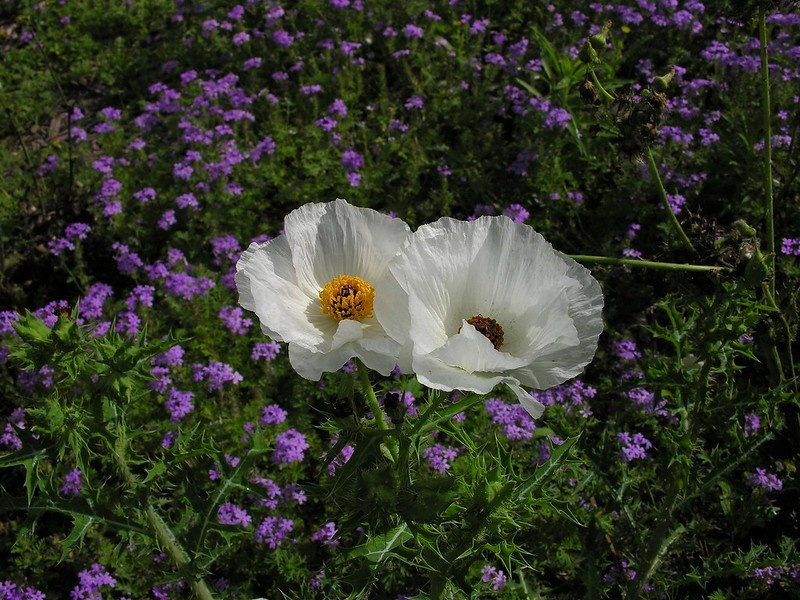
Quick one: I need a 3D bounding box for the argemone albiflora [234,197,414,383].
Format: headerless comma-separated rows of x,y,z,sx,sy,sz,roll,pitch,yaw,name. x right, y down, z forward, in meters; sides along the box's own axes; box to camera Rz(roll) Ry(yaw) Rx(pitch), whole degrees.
-0.276,-0.027,3.791,0.786,0.421,0.886,-16,46,-13,argemone albiflora

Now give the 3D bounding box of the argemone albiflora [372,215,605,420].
0.465,0.028,3.996,0.883,0.984,0.394,33,66,15,argemone albiflora
